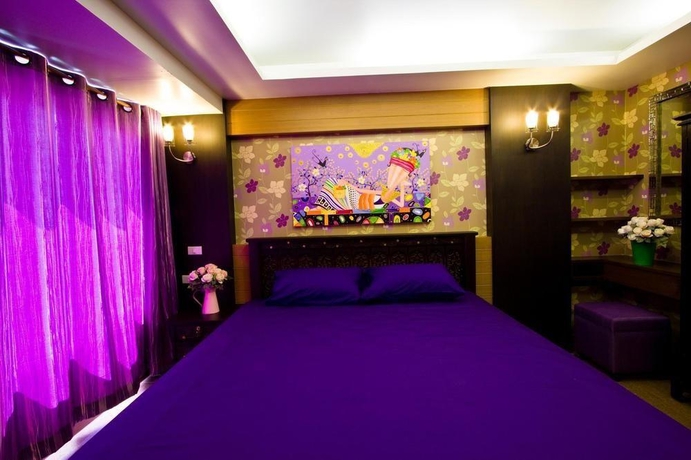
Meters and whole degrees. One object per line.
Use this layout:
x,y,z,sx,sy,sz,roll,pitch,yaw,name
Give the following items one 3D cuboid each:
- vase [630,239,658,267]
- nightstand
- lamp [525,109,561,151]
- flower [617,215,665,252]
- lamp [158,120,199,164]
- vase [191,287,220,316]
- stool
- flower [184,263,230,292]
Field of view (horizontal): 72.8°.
2.968,0.219,4.600,0.230,0.260,0.243,1,-7,10,vase
-1.382,0.947,4.739,0.640,0.626,0.438,-1,0,1,nightstand
1.969,-1.033,4.775,0.385,0.449,0.356,-10,14,-26,lamp
3.004,0.006,4.682,0.464,0.254,0.431,-4,13,-29,flower
-1.730,-0.907,4.839,0.435,0.513,0.253,-1,-6,-5,lamp
-1.395,0.698,4.772,0.334,0.339,0.219,-2,3,-19,vase
2.664,0.887,4.575,0.596,0.738,0.853,0,2,-5,stool
-1.373,0.456,4.674,0.319,0.153,0.315,1,-1,-20,flower
